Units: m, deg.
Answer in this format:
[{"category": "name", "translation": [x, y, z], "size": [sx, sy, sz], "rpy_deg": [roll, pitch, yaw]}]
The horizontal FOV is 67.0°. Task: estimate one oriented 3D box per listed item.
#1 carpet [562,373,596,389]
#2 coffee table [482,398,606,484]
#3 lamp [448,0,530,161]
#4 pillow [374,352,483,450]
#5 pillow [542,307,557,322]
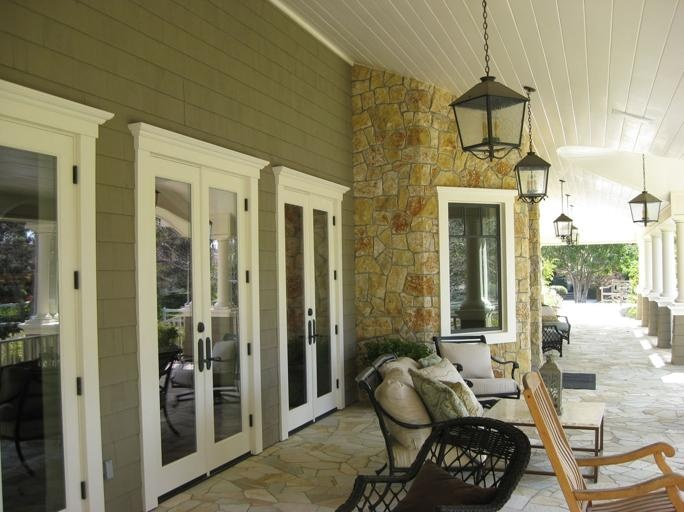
[{"category": "carpet", "translation": [4.098, 2.148, 8.884], "size": [0.414, 0.103, 0.461], "rpy_deg": [-2, -2, 16]}, {"category": "coffee table", "translation": [2.147, 1.638, 5.169], "size": [0.912, 0.481, 0.936], "rpy_deg": [-2, -8, 23]}, {"category": "lamp", "translation": [1.369, -1.611, 4.798], "size": [0.624, 1.617, 1.248], "rpy_deg": [-3, -3, 19]}, {"category": "pillow", "translation": [0.806, 1.347, 4.674], "size": [0.819, 0.818, 0.254], "rpy_deg": [-23, -36, 3]}, {"category": "pillow", "translation": [5.013, 1.487, 12.464], "size": [0.372, 0.171, 0.634], "rpy_deg": [2, 10, 27]}]
